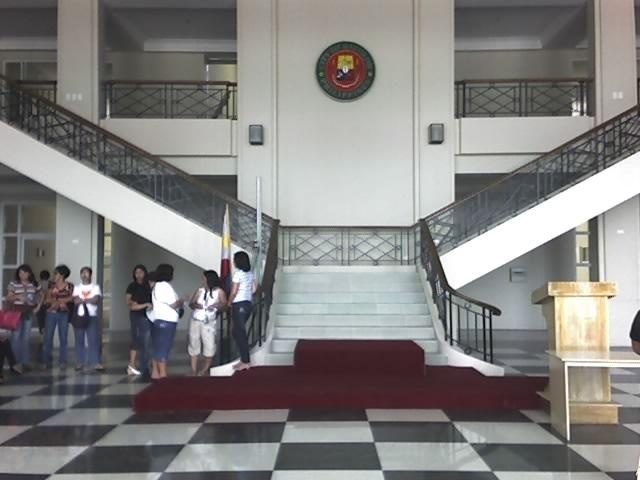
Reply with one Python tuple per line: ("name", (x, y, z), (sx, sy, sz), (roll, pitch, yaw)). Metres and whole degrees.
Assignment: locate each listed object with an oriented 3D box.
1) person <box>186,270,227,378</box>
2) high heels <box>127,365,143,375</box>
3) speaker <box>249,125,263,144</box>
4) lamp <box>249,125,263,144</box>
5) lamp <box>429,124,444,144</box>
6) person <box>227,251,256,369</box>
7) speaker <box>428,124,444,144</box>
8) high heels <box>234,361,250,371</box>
("person", (-1.842, 1.309, 10.419), (0.578, 1.641, 0.613), (-1, -2, -12))
("high heels", (-3.078, 2.136, 10.636), (0.296, 0.146, 0.108), (5, -11, 1))
("speaker", (-1.361, -2.180, 13.335), (0.307, 0.506, 0.239), (-1, -5, -1))
("lamp", (-1.362, -2.179, 13.338), (0.317, 0.525, 0.247), (-1, -5, 0))
("lamp", (2.384, -2.199, 13.321), (0.348, 0.548, 0.260), (0, 1, 1))
("person", (-1.236, 1.085, 10.110), (0.401, 1.831, 0.351), (-1, -2, -6))
("speaker", (2.377, -2.198, 13.323), (0.349, 0.533, 0.253), (0, 1, 1))
("high heels", (-1.225, 1.944, 9.974), (0.189, 0.079, 0.113), (3, -3, -1))
